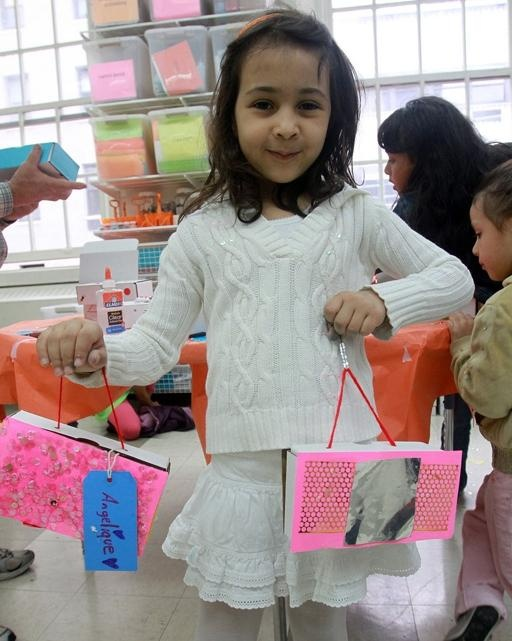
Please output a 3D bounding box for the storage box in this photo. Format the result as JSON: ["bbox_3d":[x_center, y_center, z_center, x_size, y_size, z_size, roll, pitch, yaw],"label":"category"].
[{"bbox_3d":[-0.674,-1.401,3.561,1.429,0.539,1.043,-6,10,6],"label":"storage box"}]

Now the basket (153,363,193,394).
[{"bbox_3d":[-0.550,0.386,3.405,0.279,0.157,0.278,0,4,30],"label":"basket"}]
